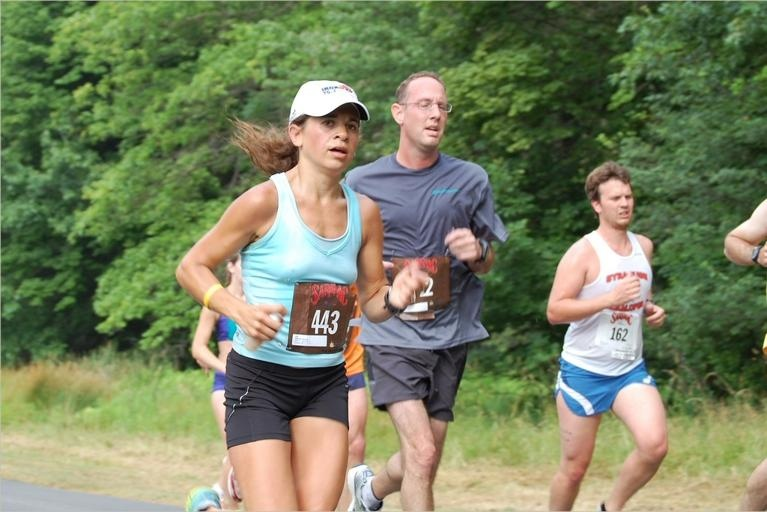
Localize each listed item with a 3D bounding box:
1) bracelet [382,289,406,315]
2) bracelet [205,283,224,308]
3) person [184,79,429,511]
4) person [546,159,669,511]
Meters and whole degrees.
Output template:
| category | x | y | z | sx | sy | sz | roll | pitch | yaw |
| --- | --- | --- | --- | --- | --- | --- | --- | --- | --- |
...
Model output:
| category | x | y | z | sx | sy | sz | roll | pitch | yaw |
| --- | --- | --- | --- | --- | --- | --- | --- | --- | --- |
| bracelet | 0.061 | 0.334 | 6.522 | 0.155 | 0.177 | 0.070 | 20 | -19 | -3 |
| bracelet | -1.160 | 0.271 | 6.229 | 0.037 | 0.143 | 0.151 | 21 | -25 | -1 |
| person | -0.601 | 0.262 | 6.333 | 1.426 | 2.968 | 0.501 | 1 | 2 | -23 |
| person | 1.799 | 0.689 | 7.369 | 0.929 | 2.911 | 0.592 | 2 | 2 | 9 |
